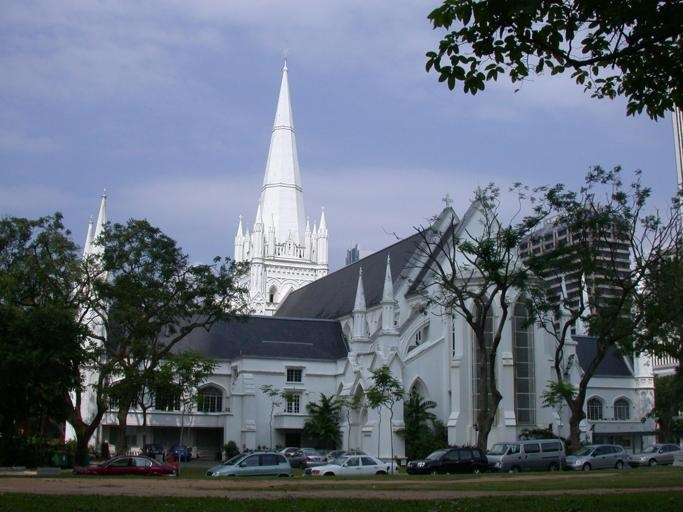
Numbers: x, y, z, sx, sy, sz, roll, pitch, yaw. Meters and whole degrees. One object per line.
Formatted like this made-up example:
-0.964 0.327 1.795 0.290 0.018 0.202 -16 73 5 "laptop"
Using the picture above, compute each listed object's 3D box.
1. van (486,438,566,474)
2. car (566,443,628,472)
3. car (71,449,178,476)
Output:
10.980 11.726 78.502 4.767 2.113 1.506 5 -13 -18 "van"
15.538 12.270 80.923 3.089 1.208 1.721 8 -17 -27 "car"
-13.000 12.313 79.189 6.162 2.121 2.811 2 -12 -9 "car"
